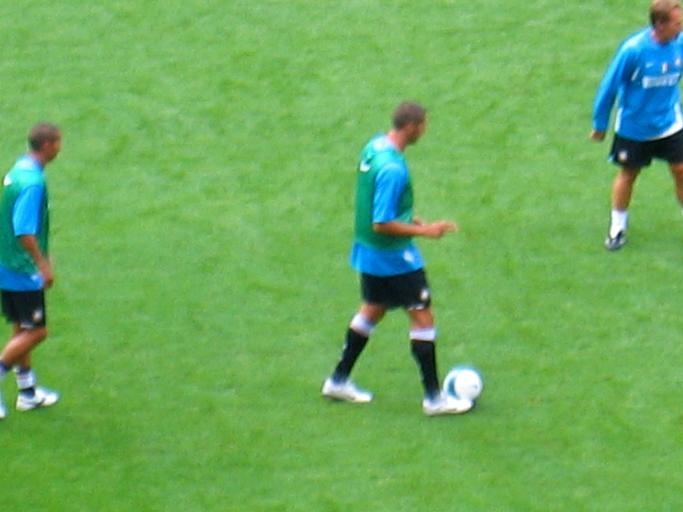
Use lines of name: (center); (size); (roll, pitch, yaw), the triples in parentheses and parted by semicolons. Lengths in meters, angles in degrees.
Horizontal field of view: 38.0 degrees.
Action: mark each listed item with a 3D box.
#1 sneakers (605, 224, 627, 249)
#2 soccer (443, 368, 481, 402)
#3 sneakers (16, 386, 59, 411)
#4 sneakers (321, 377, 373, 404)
sneakers: (2.617, -0.181, 9.497); (0.207, 0.209, 0.136); (0, 35, 2)
soccer: (1.087, 1.078, 8.504); (0.269, 0.222, 0.268); (-2, 13, -4)
sneakers: (-2.709, 1.267, 8.801); (0.337, 0.147, 0.178); (-12, 32, -27)
sneakers: (0.042, 1.177, 8.757); (0.542, 0.241, 0.178); (2, 8, -5)
